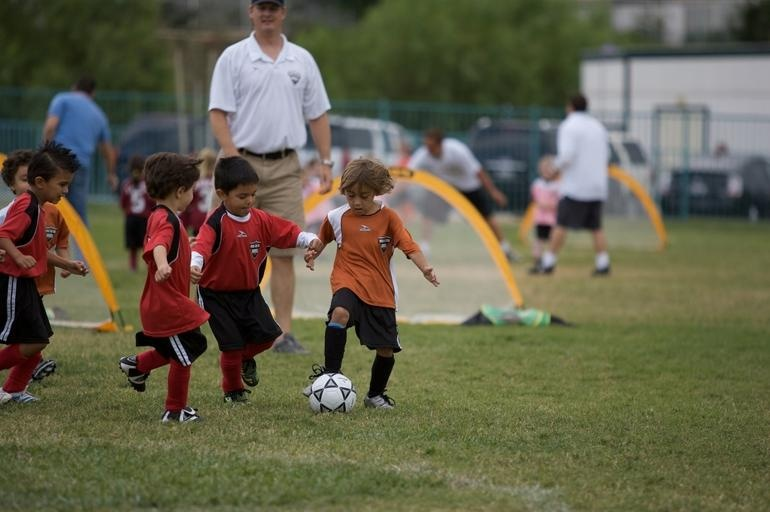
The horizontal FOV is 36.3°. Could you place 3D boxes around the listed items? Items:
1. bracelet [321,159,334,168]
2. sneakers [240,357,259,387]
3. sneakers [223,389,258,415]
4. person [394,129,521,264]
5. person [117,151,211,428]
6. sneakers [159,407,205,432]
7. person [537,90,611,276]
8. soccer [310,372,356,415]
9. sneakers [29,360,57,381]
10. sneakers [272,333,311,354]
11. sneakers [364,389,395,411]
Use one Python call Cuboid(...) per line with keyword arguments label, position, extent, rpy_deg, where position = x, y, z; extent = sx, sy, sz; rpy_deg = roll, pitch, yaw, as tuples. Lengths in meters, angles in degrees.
Cuboid(label="bracelet", position=(-0.434, -0.729, 9.189), extent=(0.085, 0.060, 0.090), rpy_deg=(11, 22, -6))
Cuboid(label="sneakers", position=(-0.933, 0.810, 8.202), extent=(0.078, 0.229, 0.091), rpy_deg=(-18, 11, -18))
Cuboid(label="sneakers", position=(-0.974, 0.973, 7.998), extent=(0.096, 0.109, 0.242), rpy_deg=(1, -11, -39))
Cuboid(label="person", position=(0.711, -0.712, 13.462), extent=(1.351, 1.761, 0.618), rpy_deg=(-8, 25, 14))
Cuboid(label="person", position=(-1.404, 0.198, 7.728), extent=(0.481, 1.745, 0.578), rpy_deg=(-2, 5, -28))
Cuboid(label="sneakers", position=(-1.324, 1.064, 7.646), extent=(0.230, 0.104, 0.110), rpy_deg=(-2, 0, -1))
Cuboid(label="person", position=(1.476, -0.558, 9.094), extent=(0.591, 1.400, 0.549), rpy_deg=(1, 0, 16))
Cuboid(label="soccer", position=(-0.345, 0.931, 7.911), extent=(0.265, 0.254, 0.252), rpy_deg=(3, -11, 2))
Cuboid(label="sneakers", position=(-2.407, 0.807, 8.333), extent=(0.099, 0.080, 0.220), rpy_deg=(16, 39, 31))
Cuboid(label="sneakers", position=(-0.719, 0.689, 9.195), extent=(0.278, 0.119, 0.129), rpy_deg=(0, 0, 22))
Cuboid(label="sneakers", position=(-0.025, 1.001, 8.036), extent=(0.184, 0.095, 0.095), rpy_deg=(0, 4, 8))
